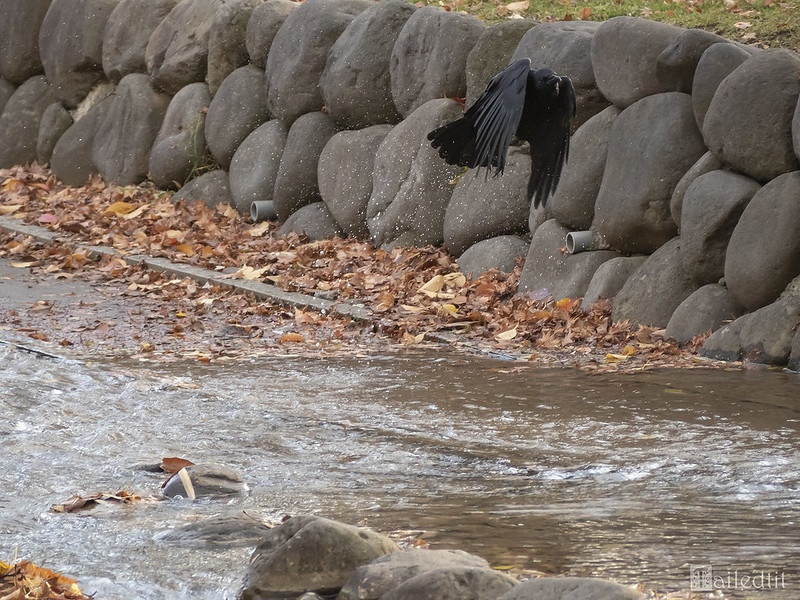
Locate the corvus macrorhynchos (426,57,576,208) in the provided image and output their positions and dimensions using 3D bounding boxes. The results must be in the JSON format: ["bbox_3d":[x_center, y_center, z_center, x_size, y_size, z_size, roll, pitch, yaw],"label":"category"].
[{"bbox_3d":[0.746,-1.422,13.898,1.156,0.812,0.850,12,-4,34],"label":"corvus macrorhynchos"}]
